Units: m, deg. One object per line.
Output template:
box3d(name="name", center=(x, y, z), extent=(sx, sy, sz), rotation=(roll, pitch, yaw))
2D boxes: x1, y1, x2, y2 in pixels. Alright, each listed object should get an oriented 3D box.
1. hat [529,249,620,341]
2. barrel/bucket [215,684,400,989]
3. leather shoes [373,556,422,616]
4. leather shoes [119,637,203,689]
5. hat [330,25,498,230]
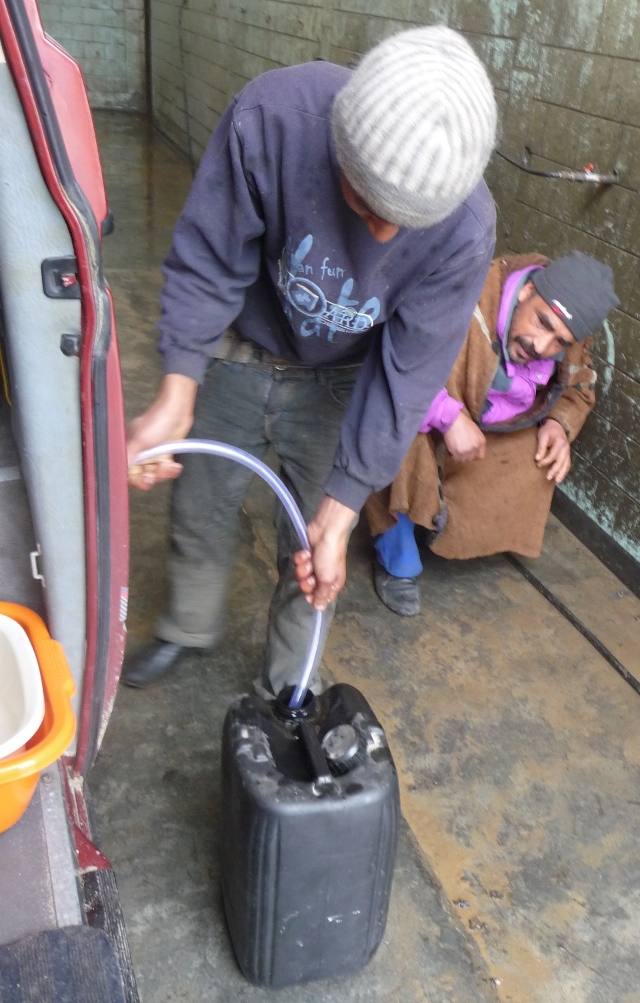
box3d(name="hat", center=(0.706, -0.599, 2.493), extent=(0.207, 0.160, 0.277), rotation=(32, 32, -25))
box3d(name="barrel/bucket", center=(-0.044, 0.553, 1.461), extent=(0.262, 0.453, 0.340), rotation=(-1, 36, -24))
box3d(name="leather shoes", center=(0.240, 0.284, 2.793), extent=(0.082, 0.089, 0.220), rotation=(-7, 41, -23))
box3d(name="leather shoes", center=(-0.419, 0.423, 2.292), extent=(0.220, 0.084, 0.070), rotation=(-23, 53, -34))
box3d(name="hat", center=(0.123, -0.505, 1.180), extent=(0.199, 0.251, 0.221), rotation=(4, 34, -18))
